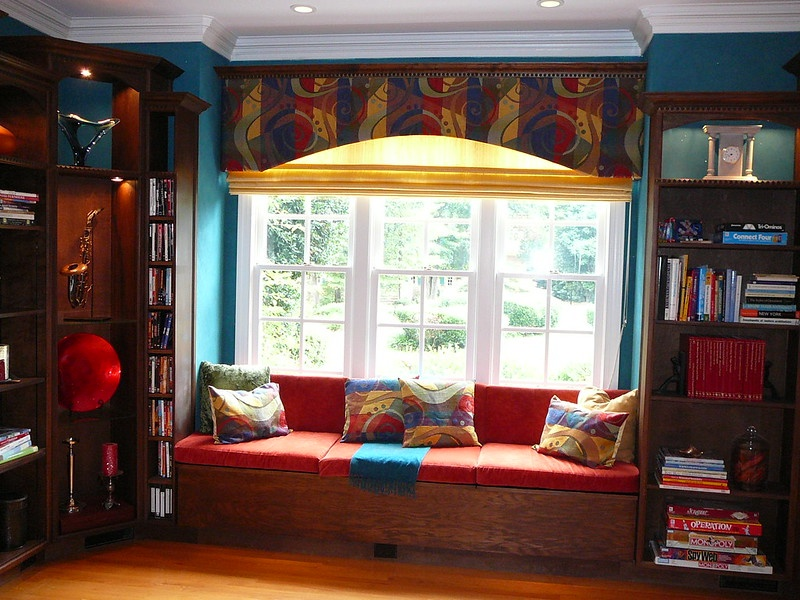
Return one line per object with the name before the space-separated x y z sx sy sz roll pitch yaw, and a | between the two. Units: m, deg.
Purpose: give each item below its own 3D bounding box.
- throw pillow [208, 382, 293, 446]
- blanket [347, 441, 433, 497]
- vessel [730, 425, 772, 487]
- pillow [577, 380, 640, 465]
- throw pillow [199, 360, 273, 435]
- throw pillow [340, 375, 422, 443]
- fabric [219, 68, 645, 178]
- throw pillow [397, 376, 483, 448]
throw pillow | -1.020 0.762 4.600 0.215 0.366 0.576 -7 -7 38
blanket | -0.235 1.060 4.377 0.556 0.228 0.538 9 -8 -30
vessel | 2.095 0.939 4.102 0.270 0.363 0.257 3 -2 -18
pillow | 1.290 0.743 4.186 0.443 0.415 0.173 1 -19 27
throw pillow | -1.108 0.671 4.564 0.489 0.454 0.170 2 -16 -21
throw pillow | -0.115 0.738 4.543 0.430 0.377 0.148 0 -26 2
fabric | 0.192 -1.262 4.886 2.964 0.699 0.349 4 12 10
throw pillow | 0.251 0.755 4.501 0.450 0.369 0.157 2 -24 -8
